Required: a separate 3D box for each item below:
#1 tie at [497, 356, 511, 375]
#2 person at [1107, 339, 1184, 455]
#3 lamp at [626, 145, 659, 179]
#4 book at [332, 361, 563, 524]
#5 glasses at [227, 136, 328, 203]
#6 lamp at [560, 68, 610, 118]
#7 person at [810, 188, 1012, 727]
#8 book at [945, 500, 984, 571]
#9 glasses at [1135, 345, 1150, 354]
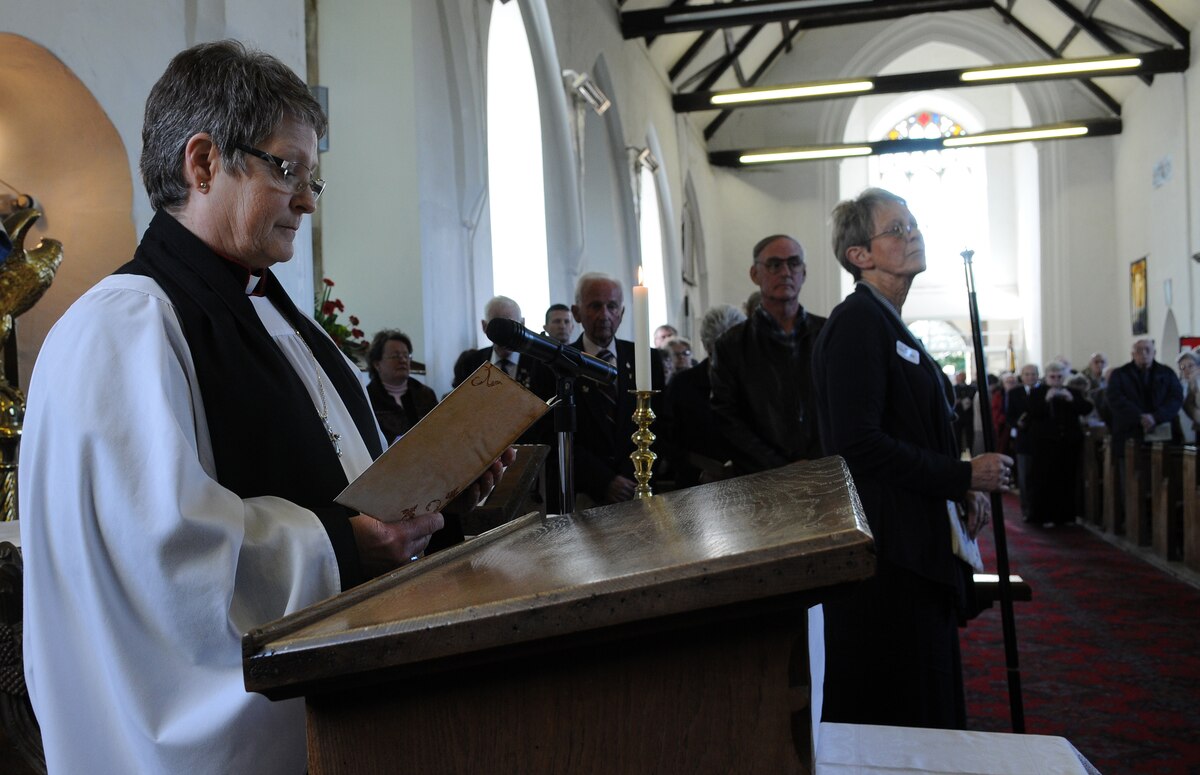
[{"bbox_3d":[-0.413,-0.094,4.724,0.082,0.036,0.126,-2,-27,3],"label":"tie"},{"bbox_3d":[5.001,0.370,10.059,0.577,1.698,0.577,0,-10,23],"label":"person"},{"bbox_3d":[0.498,-2.619,12.774,0.297,0.427,0.145,-5,4,-32],"label":"lamp"},{"bbox_3d":[-0.412,0.164,3.143,0.080,0.528,0.560,44,9,39],"label":"book"},{"bbox_3d":[-0.833,-0.547,2.759,0.124,0.041,0.126,23,-7,23],"label":"glasses"},{"bbox_3d":[-0.140,-2.711,10.063,0.199,0.315,0.666,-2,6,19],"label":"lamp"},{"bbox_3d":[0.938,0.221,3.609,0.660,1.755,0.541,-6,5,-24],"label":"person"},{"bbox_3d":[1.171,0.489,3.534,0.053,0.233,0.136,-10,-2,39],"label":"book"},{"bbox_3d":[5.092,-0.337,10.292,0.079,0.068,0.084,-3,-5,29],"label":"glasses"}]
